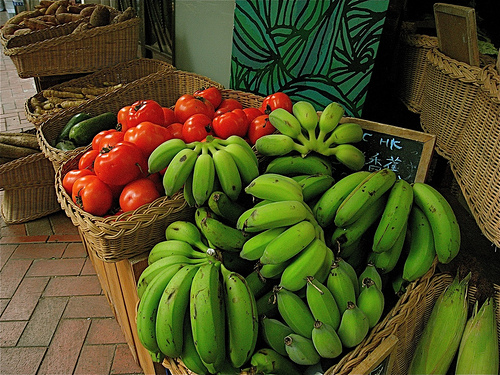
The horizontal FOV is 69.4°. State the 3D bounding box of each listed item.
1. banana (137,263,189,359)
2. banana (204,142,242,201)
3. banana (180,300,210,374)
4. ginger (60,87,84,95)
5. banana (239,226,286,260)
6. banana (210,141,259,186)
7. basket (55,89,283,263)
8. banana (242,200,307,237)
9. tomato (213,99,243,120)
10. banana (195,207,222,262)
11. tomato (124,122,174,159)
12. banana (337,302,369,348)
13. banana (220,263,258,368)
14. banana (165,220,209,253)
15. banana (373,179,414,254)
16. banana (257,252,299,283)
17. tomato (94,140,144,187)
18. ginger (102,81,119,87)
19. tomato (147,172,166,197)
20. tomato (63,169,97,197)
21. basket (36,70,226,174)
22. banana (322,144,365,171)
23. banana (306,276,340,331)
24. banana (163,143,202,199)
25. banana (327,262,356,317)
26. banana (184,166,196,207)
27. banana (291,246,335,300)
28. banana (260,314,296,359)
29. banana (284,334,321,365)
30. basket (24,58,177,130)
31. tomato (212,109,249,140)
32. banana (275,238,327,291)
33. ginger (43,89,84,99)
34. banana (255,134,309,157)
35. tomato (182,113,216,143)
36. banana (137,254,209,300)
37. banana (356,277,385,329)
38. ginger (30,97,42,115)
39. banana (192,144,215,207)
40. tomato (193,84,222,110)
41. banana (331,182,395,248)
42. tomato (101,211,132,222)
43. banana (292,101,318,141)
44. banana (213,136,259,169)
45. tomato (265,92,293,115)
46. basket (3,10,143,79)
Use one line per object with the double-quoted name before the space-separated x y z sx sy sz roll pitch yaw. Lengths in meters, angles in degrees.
"banana" -0.306 0.402 1.177 0.077 0.258 0.201 9 -13 -4
"banana" -0.091 -0.058 1.390 0.079 0.224 0.068 -32 3 -9
"banana" -0.191 0.508 1.200 0.084 0.249 0.067 -8 -6 -16
"ginger" -1.566 -0.828 3.136 0.268 0.069 0.061 7 7 15
"banana" 0.044 0.172 1.238 0.066 0.080 0.228 -27 -4 31
"banana" -0.061 -0.105 1.393 0.111 0.182 0.050 -33 4 -37
"basket" -0.275 0.054 1.629 0.913 0.244 0.634 -26 45 -15
"banana" 0.068 0.116 1.186 0.248 0.076 0.109 -12 39 -24
"tomato" -0.133 -0.424 1.936 0.129 0.135 0.134 13 34 22
"banana" -0.149 0.175 1.298 0.050 0.179 0.060 -27 -8 -46
"tomato" -0.472 -0.241 1.689 0.223 0.135 0.219 8 27 39
"banana" 0.316 0.430 1.117 0.084 0.138 0.089 6 21 24
"banana" -0.033 0.409 1.182 0.110 0.308 0.085 -3 -13 -37
"banana" -0.227 0.177 1.384 0.191 0.083 0.082 25 53 40
"banana" 0.511 0.098 1.272 0.105 0.088 0.329 15 55 27
"banana" 0.086 0.286 1.241 0.068 0.071 0.212 41 23 30
"tomato" -0.548 -0.094 1.600 0.195 0.182 0.184 -4 16 -3
"ginger" -1.233 -0.902 3.185 0.055 0.024 0.101 5 10 23
"tomato" -0.419 -0.027 1.663 0.100 0.099 0.118 -11 11 -15
"tomato" -0.781 -0.015 1.687 0.128 0.130 0.130 -5 -5 44
"basket" -0.751 -0.589 2.318 1.152 0.420 0.765 -27 40 -18
"banana" 0.403 -0.152 1.551 0.137 0.077 0.240 -19 21 -9
"banana" 0.222 0.362 1.176 0.067 0.201 0.071 -28 -2 17
"banana" -0.265 -0.071 1.387 0.071 0.088 0.237 17 72 47
"banana" 0.285 0.320 1.185 0.057 0.192 0.076 -10 -3 11
"banana" -0.239 0.002 1.379 0.046 0.140 0.038 -6 21 -43
"banana" 0.229 0.319 1.229 0.038 0.164 0.065 40 36 6
"banana" 0.080 0.481 1.210 0.086 0.091 0.139 -41 72 -6
"banana" 0.161 0.501 1.162 0.075 0.118 0.074 -39 8 18
"basket" -1.111 -0.695 2.644 1.063 0.273 0.537 -23 42 -11
"tomato" -0.102 -0.291 1.796 0.154 0.141 0.149 -28 24 -25
"banana" 0.159 0.244 1.152 0.148 0.048 0.103 -47 7 -18
"ginger" -1.575 -0.787 3.053 0.264 0.053 0.055 6 22 3
"banana" 0.123 -0.181 1.503 0.236 0.090 0.079 3 23 18
"tomato" -0.248 -0.262 1.697 0.140 0.139 0.140 1 4 23
"banana" -0.281 0.282 1.259 0.187 0.060 0.151 24 22 -23
"banana" 0.407 0.373 1.250 0.112 0.120 0.199 4 -6 17
"ginger" -1.772 -0.667 2.985 0.068 0.057 0.218 -26 55 4
"banana" -0.169 -0.037 1.320 0.062 0.202 0.071 3 3 -3
"tomato" -0.240 -0.507 2.072 0.147 0.148 0.145 0 11 -19
"banana" 0.391 0.090 1.257 0.283 0.094 0.061 -42 18 -13
"tomato" -0.590 0.118 1.534 0.061 0.024 0.061 8 23 18
"banana" 0.226 -0.286 1.543 0.070 0.085 0.174 2 49 -32
"banana" -0.066 -0.126 1.490 0.165 0.050 0.112 27 35 -20
"tomato" 0.131 -0.410 1.892 0.134 0.140 0.132 7 7 -4
"basket" -1.483 -1.132 3.189 0.946 0.348 0.648 -20 36 -18
